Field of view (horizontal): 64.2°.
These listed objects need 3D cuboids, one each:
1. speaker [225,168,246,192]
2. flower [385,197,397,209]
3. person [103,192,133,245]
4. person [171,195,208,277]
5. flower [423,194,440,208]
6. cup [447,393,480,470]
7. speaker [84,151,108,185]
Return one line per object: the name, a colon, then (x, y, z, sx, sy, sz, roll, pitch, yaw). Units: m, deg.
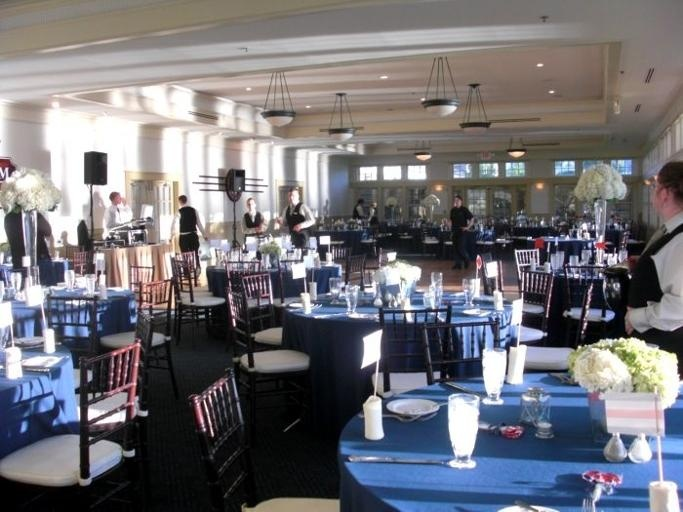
speaker: (-2.490, -1.755, 12.927, 0.297, 0.615, 1.695, -2, 3, -16)
flower: (2.015, -2.089, 21.533, 0.342, 0.326, 0.380, 2, -3, -10)
person: (-4.125, -0.485, 10.096, 0.328, 1.299, 0.494, 3, 2, 22)
person: (-3.014, -0.349, 10.815, 0.679, 1.717, 0.394, -3, 19, -18)
flower: (3.486, -2.062, 20.757, 0.497, 0.577, 0.546, -4, 2, -43)
cup: (0.495, 0.693, 2.194, 0.117, 0.263, 0.238, -1, 3, 12)
speaker: (-3.666, -1.292, 8.196, 0.313, 0.496, 0.372, -3, 3, -33)
